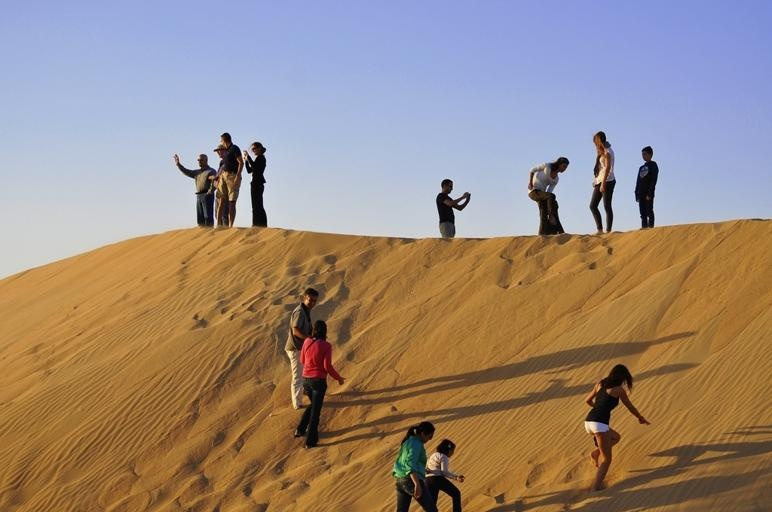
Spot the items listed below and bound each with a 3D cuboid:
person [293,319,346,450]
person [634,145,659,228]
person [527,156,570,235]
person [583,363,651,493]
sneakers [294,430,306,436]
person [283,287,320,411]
[{"bbox_3d":[-1.202,2.203,15.462,0.836,2.277,1.275,-3,5,-7],"label":"person"},{"bbox_3d":[5.208,-1.356,18.001,0.408,1.595,0.945,-1,5,16],"label":"person"},{"bbox_3d":[3.279,-1.179,18.217,0.718,1.537,0.649,-2,5,7],"label":"person"},{"bbox_3d":[3.554,2.579,13.941,0.875,1.925,1.095,-1,5,21],"label":"person"},{"bbox_3d":[-1.507,3.090,15.682,0.102,0.054,0.153,3,3,13],"label":"sneakers"},{"bbox_3d":[-1.409,1.677,16.000,0.767,2.106,0.805,1,1,1],"label":"person"}]
